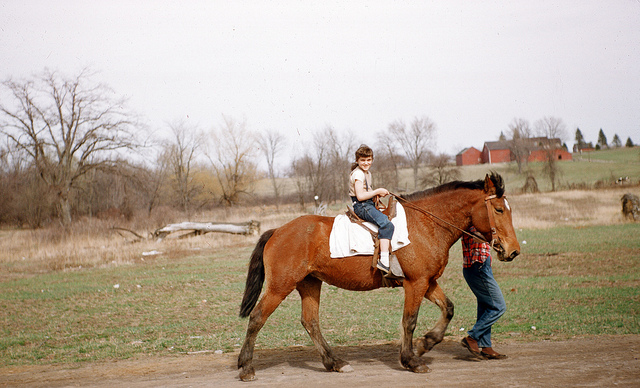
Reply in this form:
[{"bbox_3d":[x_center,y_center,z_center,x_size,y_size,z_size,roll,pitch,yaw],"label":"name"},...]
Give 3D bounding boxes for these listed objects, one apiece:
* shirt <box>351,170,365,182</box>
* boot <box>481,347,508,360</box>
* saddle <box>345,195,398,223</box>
[{"bbox_3d":[1.798,-0.856,33.843,0.751,0.751,0.436,1,4,3],"label":"shirt"},{"bbox_3d":[7.988,7.426,33.933,1.468,0.622,0.489,-2,-1,0],"label":"boot"},{"bbox_3d":[2.993,0.803,34.904,2.601,1.897,1.218,0,0,8],"label":"saddle"}]
